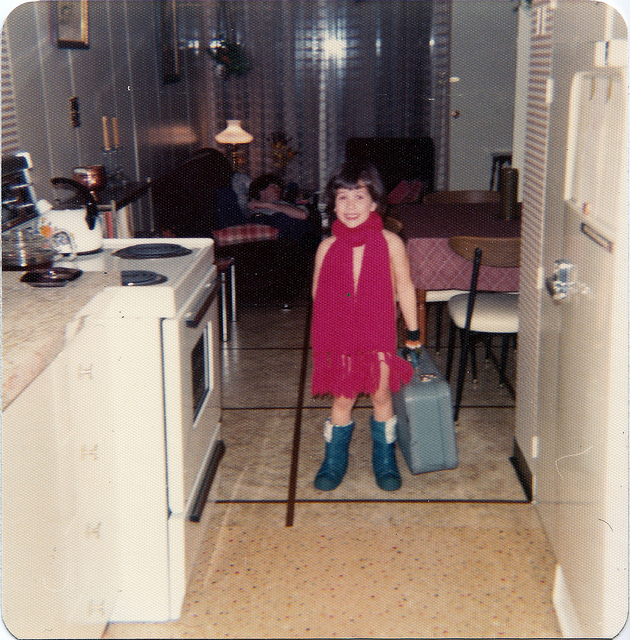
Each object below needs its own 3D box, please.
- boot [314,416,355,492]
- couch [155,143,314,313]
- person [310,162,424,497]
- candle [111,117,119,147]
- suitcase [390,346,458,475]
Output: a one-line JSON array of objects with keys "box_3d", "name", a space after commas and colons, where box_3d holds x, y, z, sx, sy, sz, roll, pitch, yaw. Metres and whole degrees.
[{"box_3d": [0.078, 0.496, 2.296, 0.108, 0.136, 0.327, 2, 28, 14], "name": "boot"}, {"box_3d": [-0.613, -0.765, 4.948, 1.318, 1.516, 1.178, 0, 27, -4], "name": "couch"}, {"box_3d": [0.157, 0.056, 2.199, 0.429, 1.203, 0.427, -2, 21, 8], "name": "person"}, {"box_3d": [-1.402, -1.311, 4.242, 0.040, 0.196, 0.153, -9, 20, -9], "name": "candle"}, {"box_3d": [0.395, 0.360, 2.262, 0.150, 0.340, 0.386, -11, 30, 0], "name": "suitcase"}]
